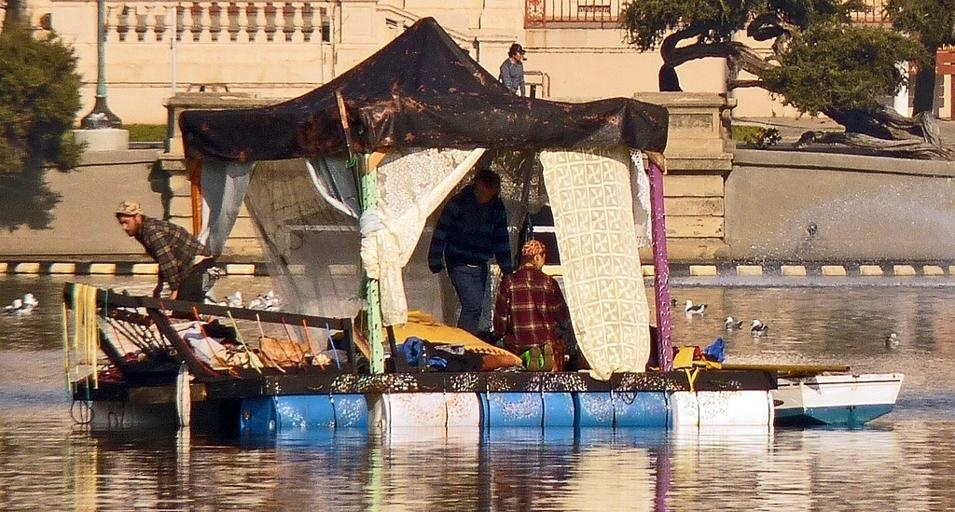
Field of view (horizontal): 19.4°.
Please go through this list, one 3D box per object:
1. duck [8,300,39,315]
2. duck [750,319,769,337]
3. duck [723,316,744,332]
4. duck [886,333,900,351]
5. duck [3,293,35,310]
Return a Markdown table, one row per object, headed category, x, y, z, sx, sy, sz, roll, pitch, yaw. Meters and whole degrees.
| category | x | y | z | sx | sy | sz | roll | pitch | yaw |
| --- | --- | --- | --- | --- | --- | --- | --- | --- | --- |
| duck | -14.182 | 1.595 | 86.042 | 0.914 | 0.425 | 0.933 | -2 | 3 | -10 |
| duck | 8.350 | 2.112 | 83.403 | 0.493 | 0.436 | 1.012 | -2 | 3 | 7 |
| duck | 7.590 | 2.030 | 83.754 | 0.537 | 0.393 | 0.485 | -2 | 3 | 4 |
| duck | 12.129 | 2.566 | 82.054 | 0.329 | 0.190 | 0.526 | 0 | 22 | 3 |
| duck | -14.248 | 1.452 | 86.158 | 0.811 | 0.271 | 0.561 | -9 | 7 | 10 |
